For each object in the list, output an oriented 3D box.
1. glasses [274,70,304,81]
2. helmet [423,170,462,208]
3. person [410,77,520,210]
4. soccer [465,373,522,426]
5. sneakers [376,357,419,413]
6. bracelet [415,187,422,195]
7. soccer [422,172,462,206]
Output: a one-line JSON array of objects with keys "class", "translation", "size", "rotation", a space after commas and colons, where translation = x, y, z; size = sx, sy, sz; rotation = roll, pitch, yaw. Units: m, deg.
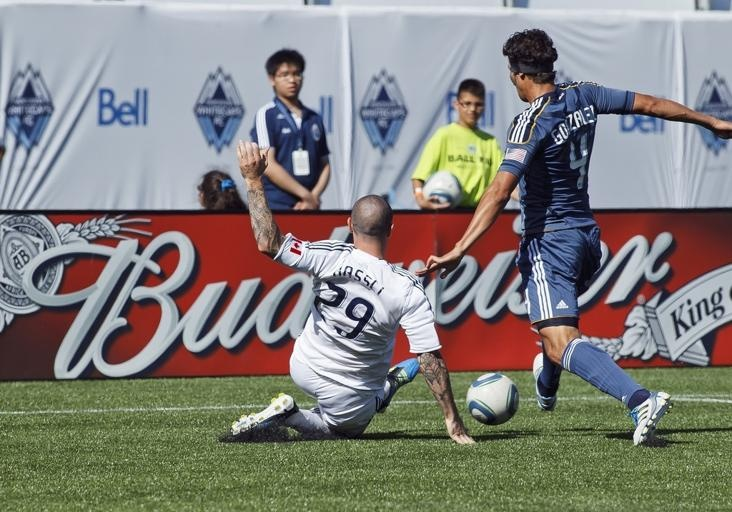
[{"class": "glasses", "translation": [-0.903, -2.104, 17.704], "size": [0.307, 0.131, 0.136], "rotation": [-2, 7, -21]}, {"class": "helmet", "translation": [0.848, -0.776, 17.084], "size": [0.414, 0.412, 0.373], "rotation": [14, 17, 13]}, {"class": "person", "translation": [1.166, -1.272, 17.443], "size": [1.134, 1.548, 0.885], "rotation": [4, -21, -2]}, {"class": "soccer", "translation": [1.200, 1.330, 14.473], "size": [0.434, 0.494, 0.470], "rotation": [4, -19, 7]}, {"class": "sneakers", "translation": [0.294, 1.113, 14.631], "size": [0.550, 0.249, 0.161], "rotation": [-42, 20, -17]}, {"class": "bracelet", "translation": [0.593, -0.758, 17.274], "size": [0.075, 0.081, 0.080], "rotation": [0, -4, 18]}, {"class": "soccer", "translation": [0.847, -0.770, 17.020], "size": [0.408, 0.406, 0.372], "rotation": [10, 21, 8]}]
